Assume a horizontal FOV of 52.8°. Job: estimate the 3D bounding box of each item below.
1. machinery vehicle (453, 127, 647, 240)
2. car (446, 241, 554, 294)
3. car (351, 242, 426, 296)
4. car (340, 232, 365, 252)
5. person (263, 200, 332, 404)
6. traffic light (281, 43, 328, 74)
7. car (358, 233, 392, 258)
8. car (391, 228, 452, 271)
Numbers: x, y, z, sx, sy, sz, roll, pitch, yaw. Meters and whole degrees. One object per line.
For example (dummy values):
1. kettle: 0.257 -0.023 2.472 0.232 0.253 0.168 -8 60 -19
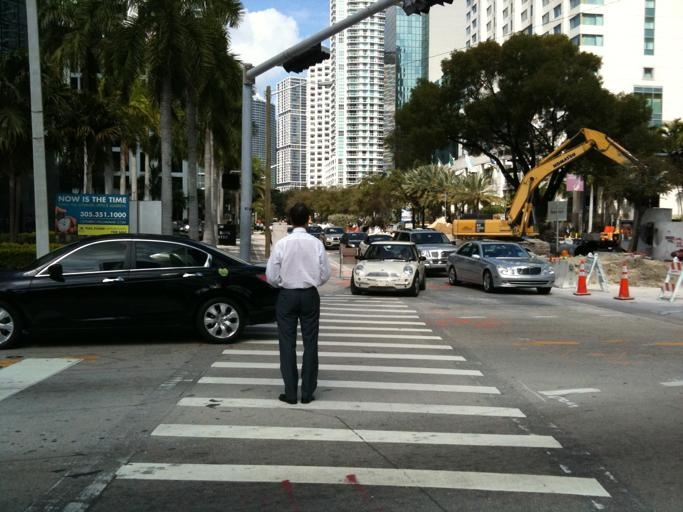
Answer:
1. machinery vehicle: 11.109 -3.650 37.385 9.445 6.127 2.478 -1 -7 40
2. car: 5.066 0.318 22.256 1.639 1.483 3.584 0 5 -19
3. car: 1.426 0.430 20.420 1.509 1.041 2.590 -1 -3 7
4. car: 0.755 -0.927 47.290 1.685 1.394 4.019 -1 -1 -6
5. person: -0.528 0.573 8.513 0.736 2.418 0.621 2 5 3
6. traffic light: -0.788 -4.614 16.324 0.910 0.710 1.087 0 5 -16
7. car: 1.752 -0.649 37.517 1.168 1.080 2.110 -1 8 -5
8. car: 3.491 -0.293 28.442 1.264 1.243 2.802 0 1 -12
